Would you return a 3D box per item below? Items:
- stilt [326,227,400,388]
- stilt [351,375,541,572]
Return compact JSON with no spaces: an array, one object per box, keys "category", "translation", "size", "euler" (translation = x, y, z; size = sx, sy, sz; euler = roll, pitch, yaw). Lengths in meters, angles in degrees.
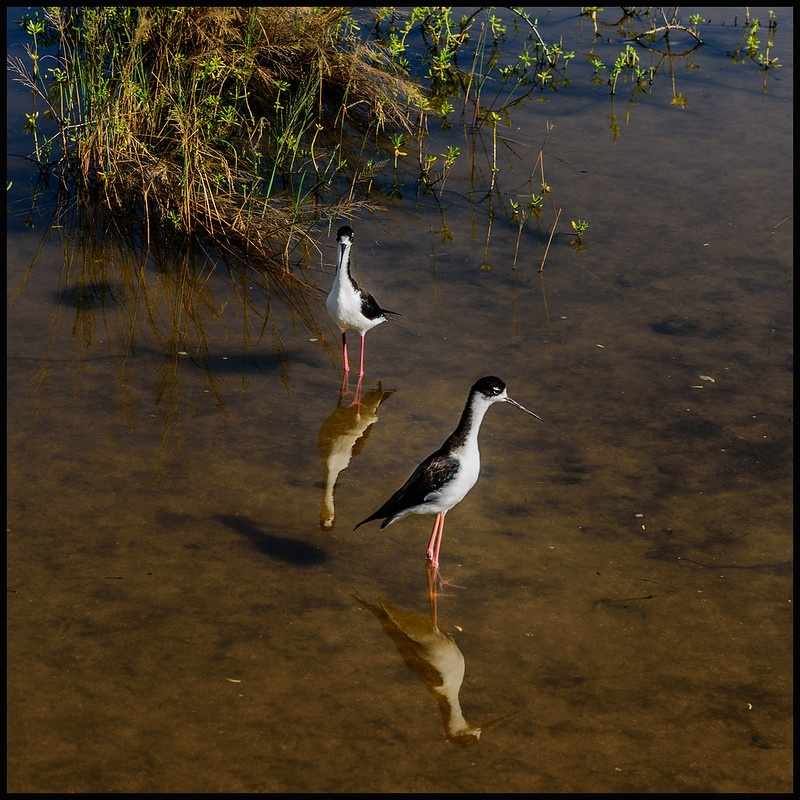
[{"category":"stilt","translation":[-0.343,-0.769,8.116],"size":[0.519,0.991,0.882],"euler":[1,30,3]},{"category":"stilt","translation":[0.244,0.420,6.374],"size":[0.509,0.971,0.933],"euler":[17,34,26]}]
